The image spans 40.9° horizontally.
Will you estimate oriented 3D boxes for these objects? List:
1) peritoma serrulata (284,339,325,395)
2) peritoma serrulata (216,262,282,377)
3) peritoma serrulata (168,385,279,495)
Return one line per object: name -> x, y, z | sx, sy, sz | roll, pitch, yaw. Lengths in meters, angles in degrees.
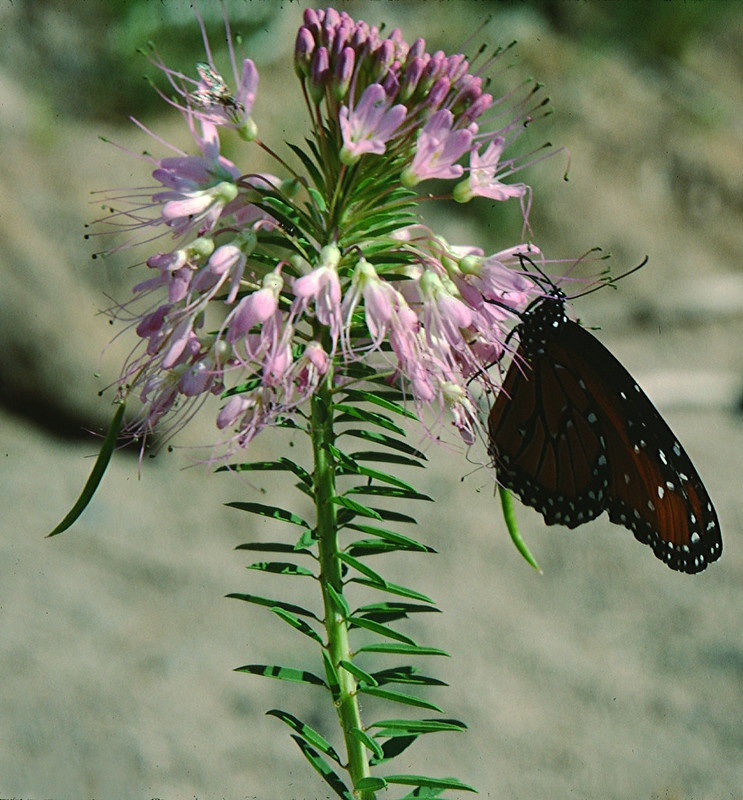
peritoma serrulata -> -0.162, -0.087, 2.605 | 0.117, 0.073, 0.128 | 12, 90, 24
peritoma serrulata -> -0.308, -0.207, 2.575 | 0.148, 0.259, 0.100 | 4, 6, 32
peritoma serrulata -> -0.354, 0.089, 2.642 | 0.161, 0.262, 0.257 | 15, 50, 5
